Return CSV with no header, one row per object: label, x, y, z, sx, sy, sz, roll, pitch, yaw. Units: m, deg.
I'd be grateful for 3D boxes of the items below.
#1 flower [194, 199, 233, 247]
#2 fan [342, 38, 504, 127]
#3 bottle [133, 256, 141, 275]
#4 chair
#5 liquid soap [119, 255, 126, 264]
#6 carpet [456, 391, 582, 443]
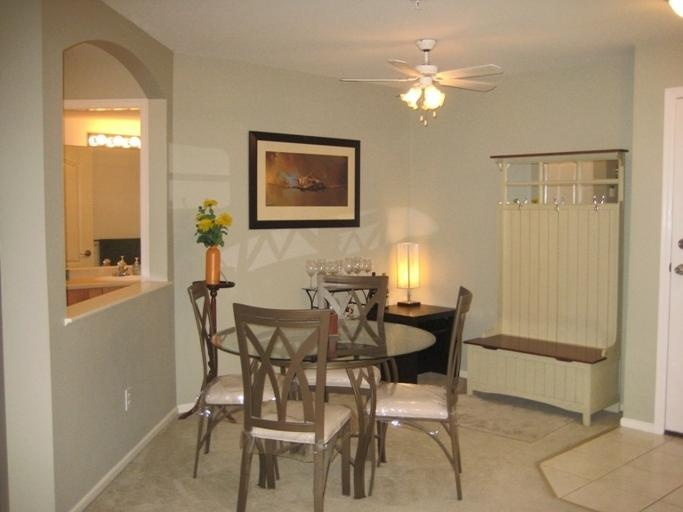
flower,-1.082,-0.261,4.755,0.277,0.431,0.538,-2,9,-14
fan,0.626,-1.212,3.976,1.043,0.578,1.011,-1,12,-31
bottle,-2.174,0.096,6.033,0.061,0.174,0.160,-2,9,-17
chair,-0.020,0.881,3.730,1.459,1.340,1.176,-4,9,-26
liquid soap,-2.297,0.029,5.970,0.075,0.074,0.077,-1,-1,45
carpet,1.423,1.395,4.836,0.958,0.030,0.782,5,9,31
